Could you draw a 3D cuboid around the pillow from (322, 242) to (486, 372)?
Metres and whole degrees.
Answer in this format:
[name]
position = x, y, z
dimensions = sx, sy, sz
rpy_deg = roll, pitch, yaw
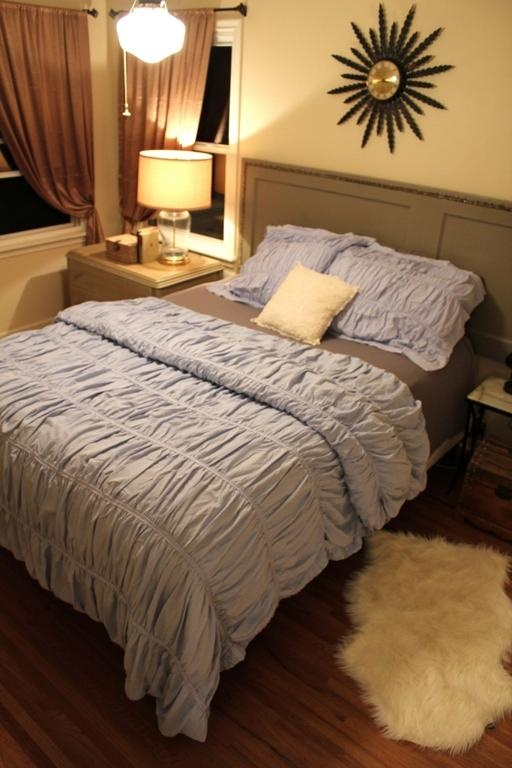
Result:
[pillow]
position = 0.562, -0.347, 2.435
dimensions = 0.541, 0.152, 0.562
rpy_deg = 22, 63, 20

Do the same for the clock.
[clock]
position = 0.625, -1.380, 2.595
dimensions = 0.048, 0.632, 0.617
rpy_deg = -24, 35, -39
